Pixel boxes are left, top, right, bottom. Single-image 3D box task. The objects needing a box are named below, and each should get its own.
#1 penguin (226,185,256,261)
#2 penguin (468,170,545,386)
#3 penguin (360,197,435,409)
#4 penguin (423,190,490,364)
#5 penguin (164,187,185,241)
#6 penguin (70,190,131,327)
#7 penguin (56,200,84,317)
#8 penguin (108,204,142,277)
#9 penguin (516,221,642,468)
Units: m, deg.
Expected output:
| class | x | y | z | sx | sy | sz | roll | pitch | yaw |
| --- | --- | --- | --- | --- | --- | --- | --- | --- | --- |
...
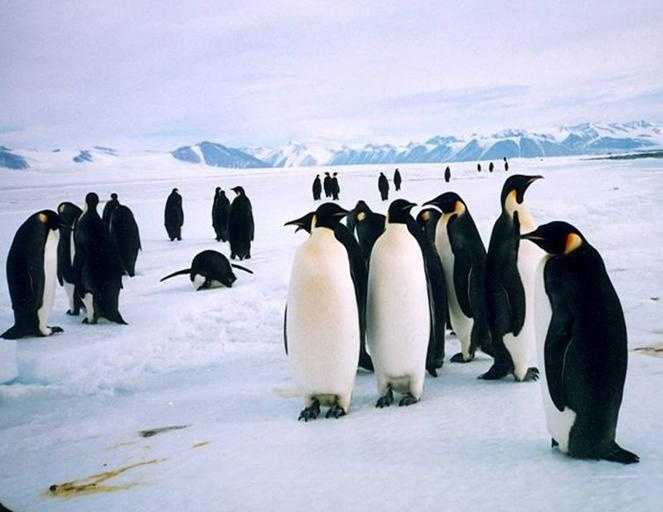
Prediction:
| class | x | y | z | sx | sy | sz | roll | pitch | yaw |
| --- | --- | --- | --- | --- | --- | --- | --- | --- | --- |
| penguin | -1.485 | -0.534 | 10.249 | 0.435 | 1.170 | 0.491 | -1 | 4 | -18 |
| penguin | 1.375 | 0.148 | 4.723 | 0.559 | 1.459 | 0.487 | -6 | 12 | -5 |
| penguin | 0.497 | 0.309 | 4.510 | 0.463 | 1.430 | 0.480 | 3 | 5 | 42 |
| penguin | 1.119 | 0.131 | 5.092 | 0.482 | 1.447 | 0.512 | 6 | 15 | 42 |
| penguin | -3.041 | -0.849 | 11.931 | 0.356 | 1.121 | 0.458 | 0 | -5 | 1 |
| penguin | -2.526 | 0.027 | 6.815 | 0.635 | 1.393 | 0.606 | -3 | 4 | -39 |
| penguin | -2.926 | 0.050 | 6.995 | 0.373 | 1.311 | 0.382 | -4 | 14 | -14 |
| penguin | -2.891 | -0.264 | 8.976 | 0.528 | 1.386 | 0.548 | -4 | 5 | -35 |
| penguin | 1.416 | 0.458 | 3.717 | 0.786 | 1.296 | 0.614 | -6 | 11 | 22 |
